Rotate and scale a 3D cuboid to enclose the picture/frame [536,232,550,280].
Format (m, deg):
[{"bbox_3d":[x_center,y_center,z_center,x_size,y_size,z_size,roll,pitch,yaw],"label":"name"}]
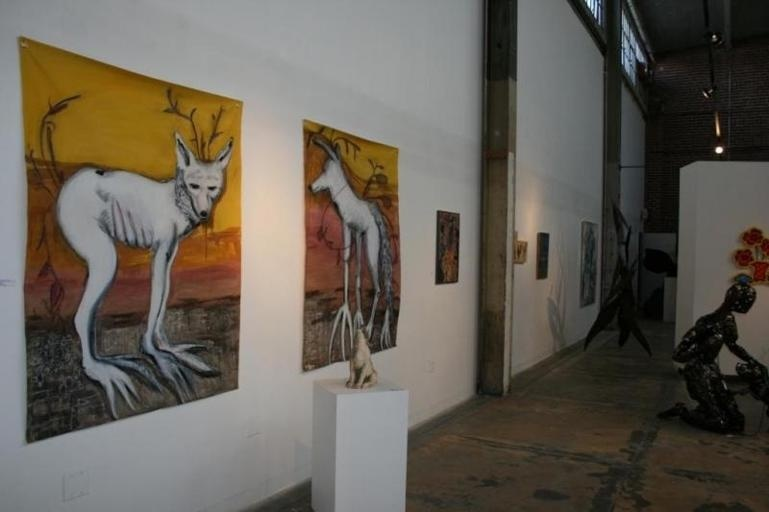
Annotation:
[{"bbox_3d":[3.526,-0.004,12.878,0.117,1.283,0.999,0,1,26],"label":"picture/frame"}]
